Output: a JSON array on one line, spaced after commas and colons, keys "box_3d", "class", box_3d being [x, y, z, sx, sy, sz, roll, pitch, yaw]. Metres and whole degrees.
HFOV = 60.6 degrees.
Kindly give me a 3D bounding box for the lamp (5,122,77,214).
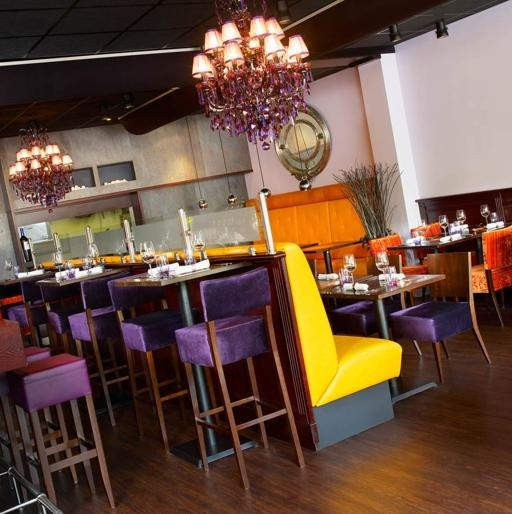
[{"box_3d": [-3.641, -1.670, 7.307, 0.878, 1.380, 1.857, -10, -2, -25], "class": "lamp"}]
